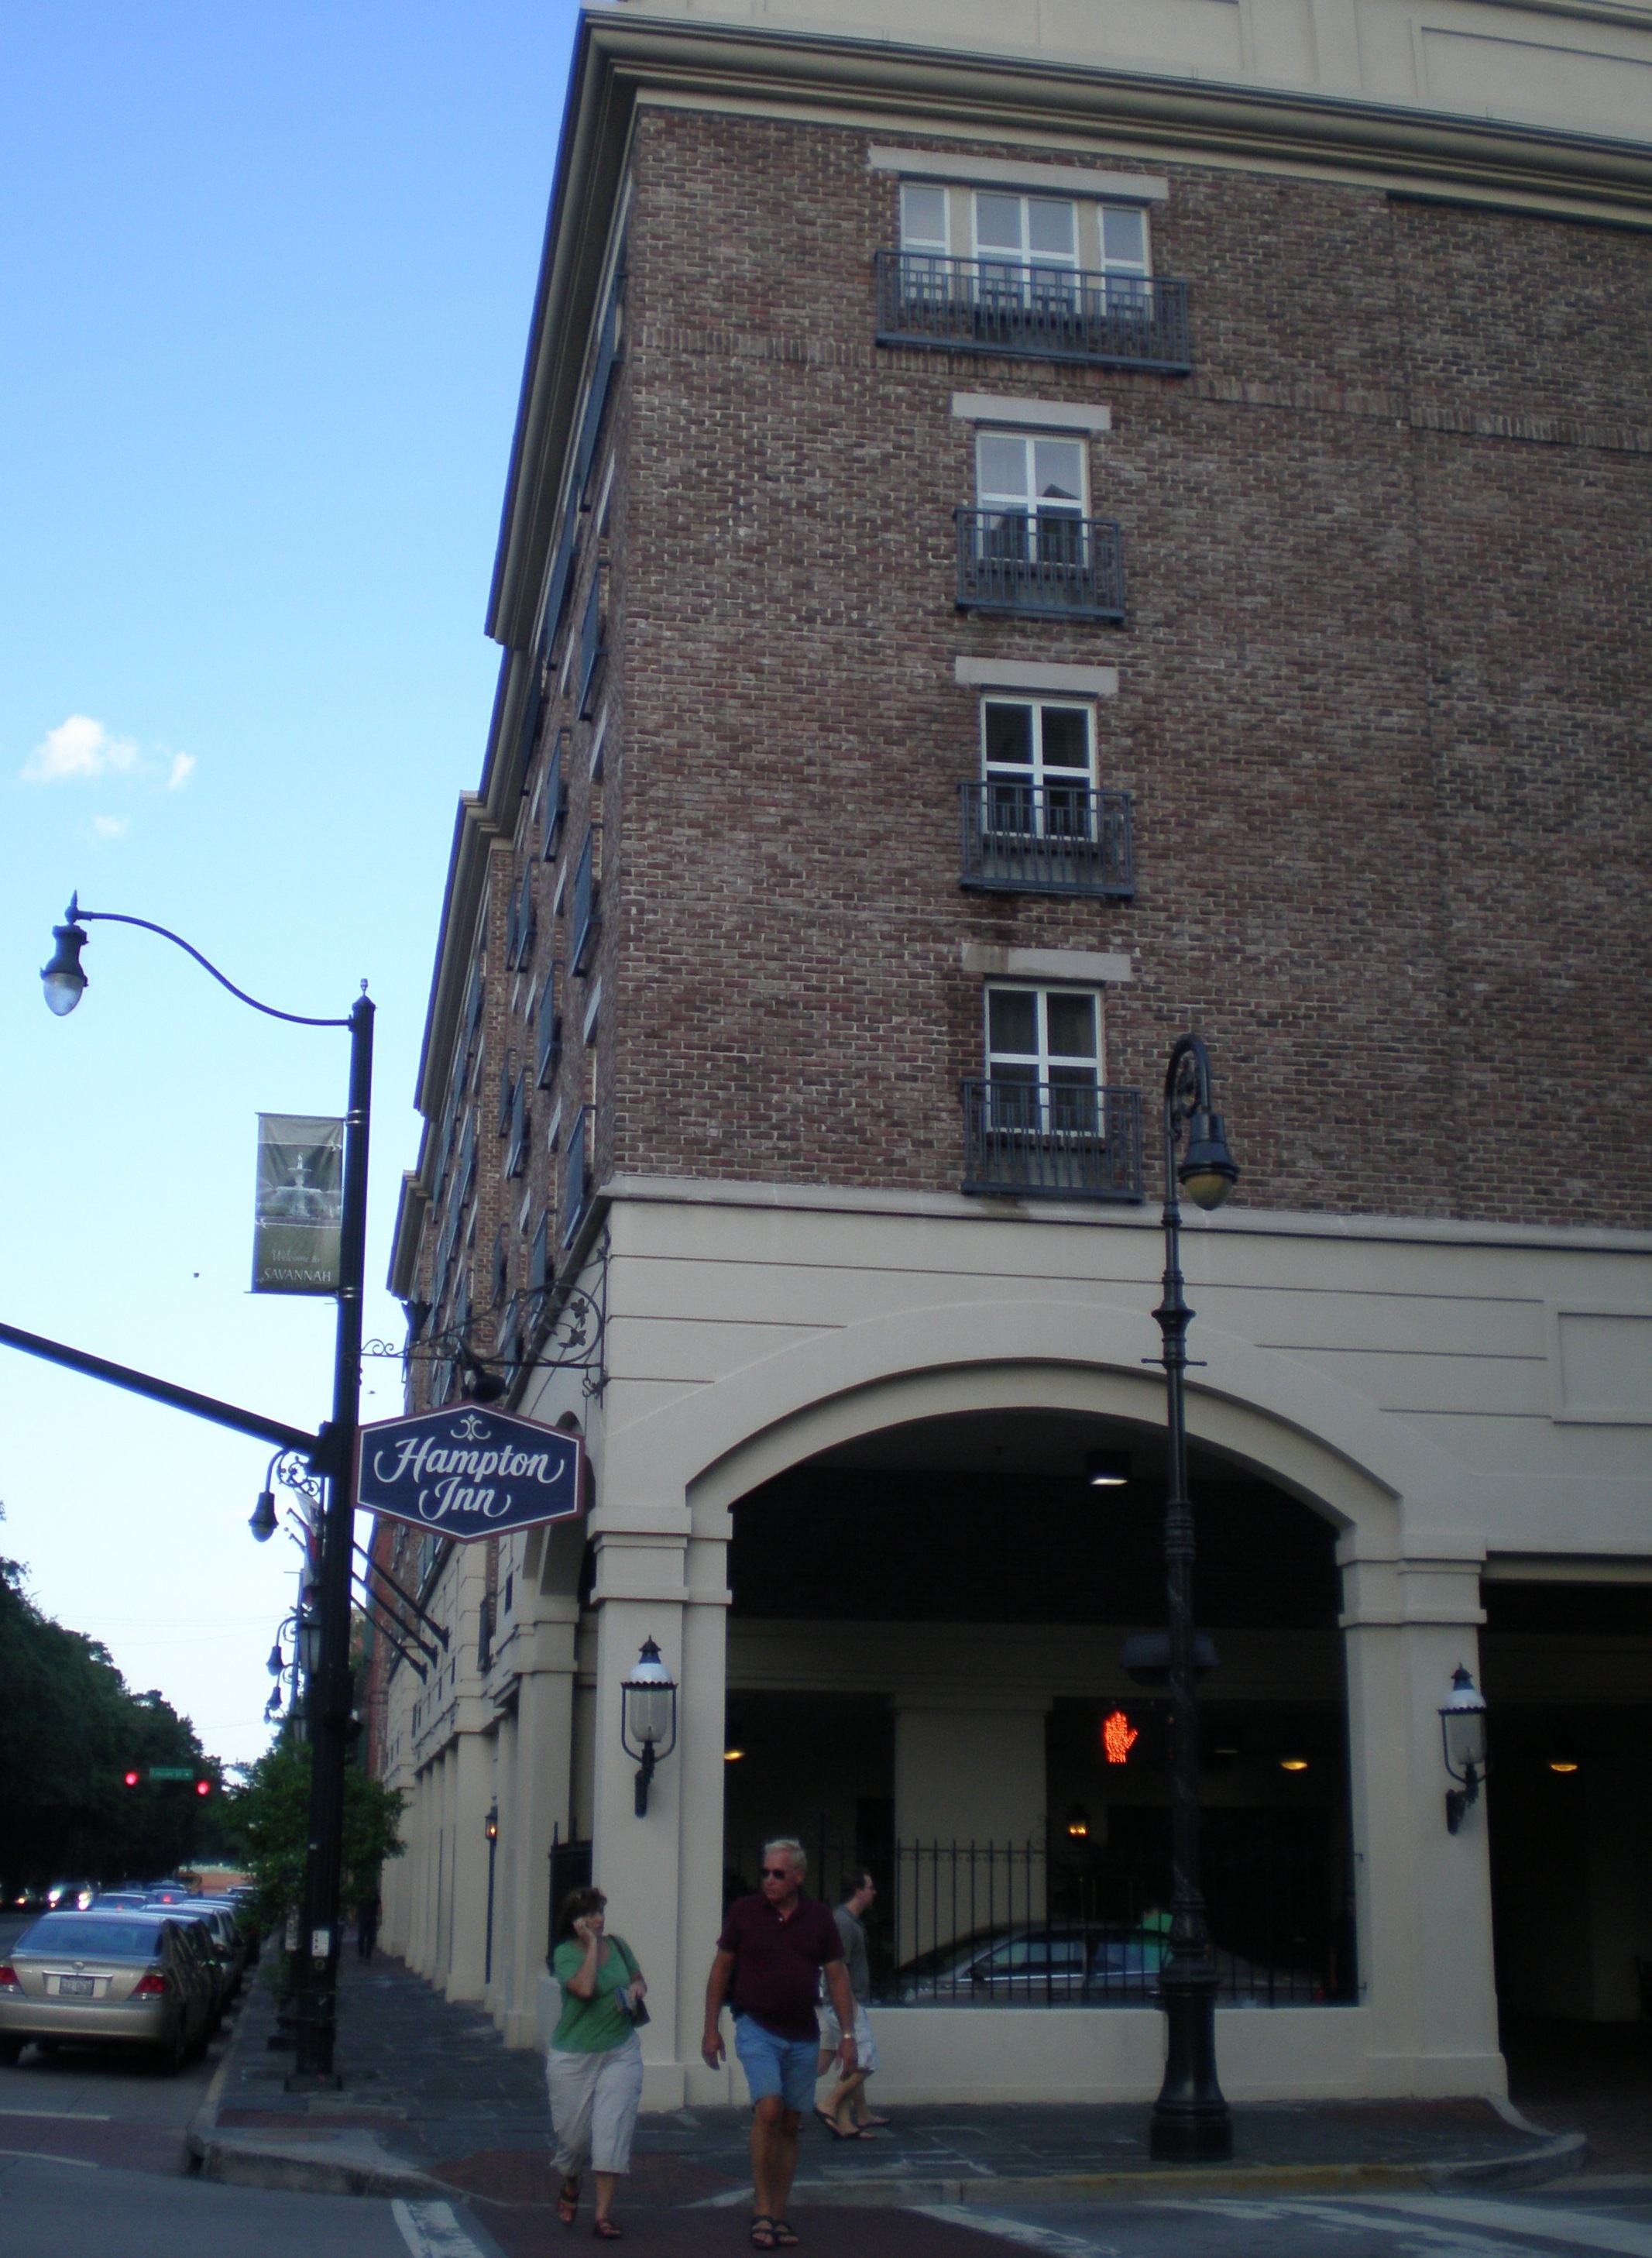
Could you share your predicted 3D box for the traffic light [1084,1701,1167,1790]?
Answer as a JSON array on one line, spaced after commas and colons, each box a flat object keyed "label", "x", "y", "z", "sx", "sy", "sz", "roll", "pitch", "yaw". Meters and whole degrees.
[{"label": "traffic light", "x": 3.359, "y": 7.050, "z": 29.884, "sx": 0.925, "sy": 0.956, "sz": 1.870, "roll": -1, "pitch": -17, "yaw": 5}]

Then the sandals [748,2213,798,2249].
[{"label": "sandals", "x": -0.202, "y": 4.508, "z": 10.733, "sx": 0.187, "sy": 0.139, "sz": 0.212, "roll": 3, "pitch": -17, "yaw": -9}]

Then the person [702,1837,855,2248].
[{"label": "person", "x": -0.202, "y": 3.796, "z": 10.941, "sx": 0.592, "sy": 1.619, "sz": 1.207, "roll": 0, "pitch": -16, "yaw": 0}]
